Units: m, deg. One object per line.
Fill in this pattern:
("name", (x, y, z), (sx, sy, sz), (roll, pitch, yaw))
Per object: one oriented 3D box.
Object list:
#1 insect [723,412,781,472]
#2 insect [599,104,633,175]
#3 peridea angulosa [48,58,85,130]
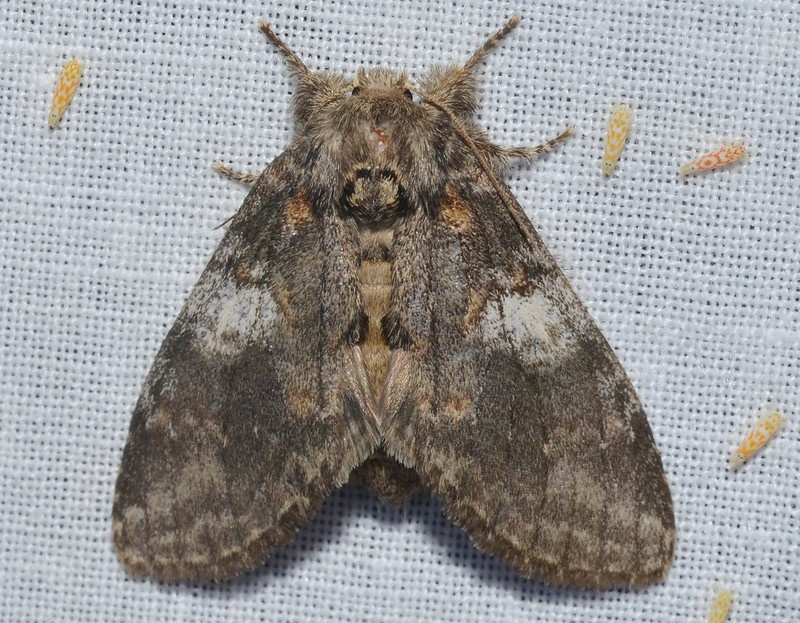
("insect", (1.177, 0.425, 4.564), (0.088, 0.095, 0.265), (33, 105, 4))
("insect", (0.722, -0.578, 4.524), (0.066, 0.060, 0.278), (9, 99, 2))
("peridea angulosa", (-1.116, -0.732, 4.590), (0.082, 0.084, 0.258), (15, 96, -3))
